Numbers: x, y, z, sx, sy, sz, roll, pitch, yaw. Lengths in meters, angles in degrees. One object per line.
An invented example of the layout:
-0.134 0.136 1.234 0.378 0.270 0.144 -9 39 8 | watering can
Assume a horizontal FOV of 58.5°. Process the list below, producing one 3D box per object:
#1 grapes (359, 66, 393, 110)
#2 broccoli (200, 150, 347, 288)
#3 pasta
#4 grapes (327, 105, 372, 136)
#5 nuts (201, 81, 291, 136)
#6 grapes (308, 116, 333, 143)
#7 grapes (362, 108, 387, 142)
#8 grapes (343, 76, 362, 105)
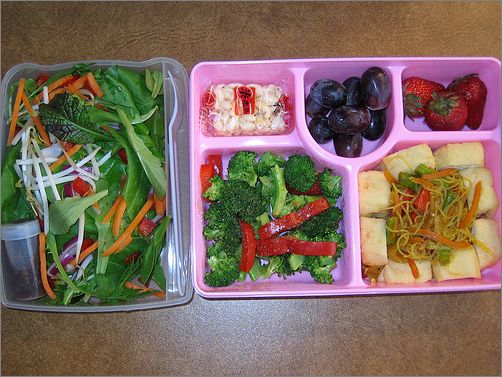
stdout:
0.775 -0.600 2.789 0.159 0.180 0.264 -6 95 8 | grapes
0.144 0.187 2.814 0.892 0.204 0.839 -2 84 3 | broccoli
1.099 0.190 2.723 0.588 0.228 0.743 -2 94 -4 | pasta
0.604 -0.429 2.776 0.265 0.158 0.227 1 54 11 | grapes
-0.044 -0.489 2.795 0.480 0.154 0.338 -2 93 0 | nuts
0.444 -0.374 2.836 0.080 0.144 0.159 -31 120 -27 | grapes
0.787 -0.399 2.879 0.125 0.097 0.189 19 87 -7 | grapes
0.651 -0.611 2.851 0.108 0.083 0.172 0 88 -7 | grapes
